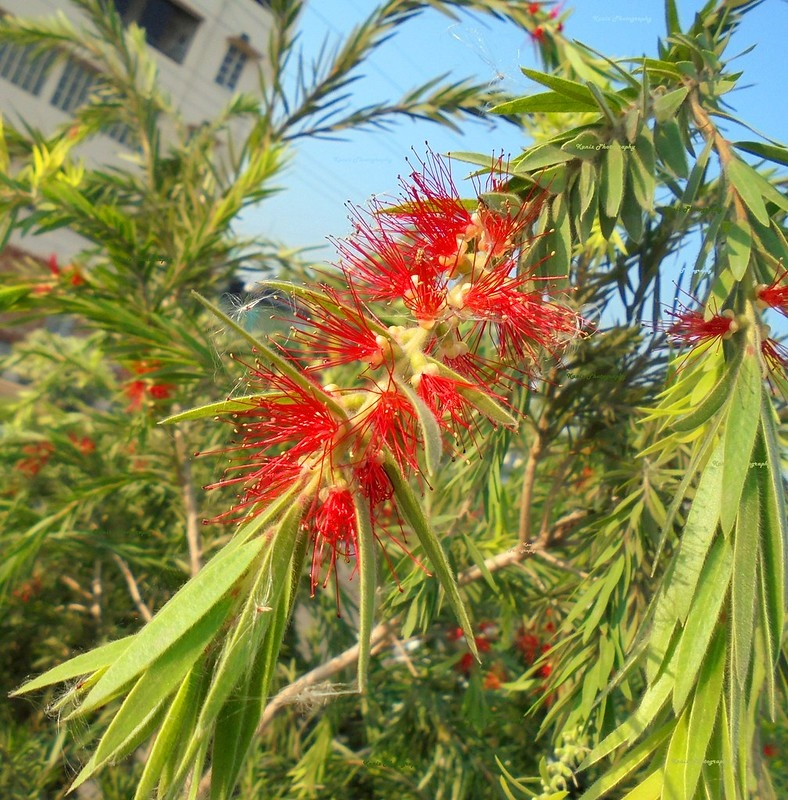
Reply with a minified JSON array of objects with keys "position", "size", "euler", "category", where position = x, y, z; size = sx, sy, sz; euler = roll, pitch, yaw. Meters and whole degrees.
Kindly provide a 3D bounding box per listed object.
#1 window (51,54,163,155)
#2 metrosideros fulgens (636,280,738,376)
[{"position":[-0.552,-0.552,1.707],"size":[0.180,0.160,0.041],"euler":[31,3,-26],"category":"window"},{"position":[0.472,-0.115,1.438],"size":[0.095,0.097,0.199],"euler":[33,3,6],"category":"metrosideros fulgens"}]
